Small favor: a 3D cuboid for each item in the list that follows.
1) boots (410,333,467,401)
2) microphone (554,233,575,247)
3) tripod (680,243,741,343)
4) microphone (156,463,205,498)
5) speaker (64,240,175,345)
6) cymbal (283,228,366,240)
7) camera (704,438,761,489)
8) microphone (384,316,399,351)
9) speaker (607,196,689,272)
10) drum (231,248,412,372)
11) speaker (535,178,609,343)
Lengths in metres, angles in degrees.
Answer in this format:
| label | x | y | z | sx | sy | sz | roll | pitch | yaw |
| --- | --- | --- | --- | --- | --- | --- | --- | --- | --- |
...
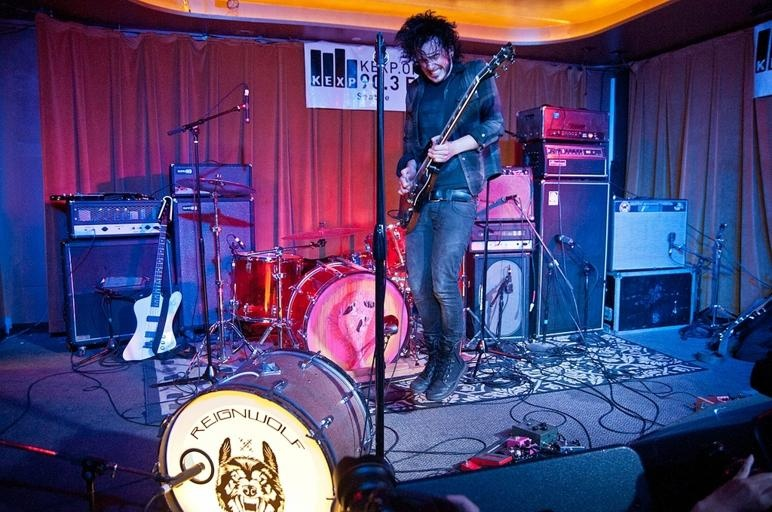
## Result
| label | x | y | z | sx | sy | sz | roll | pitch | yaw |
| --- | --- | --- | --- | --- | --- | --- | --- | --- | --- |
| boots | 0.465 | 0.822 | 5.132 | 0.291 | 0.435 | 0.614 | 14 | 29 | 34 |
| microphone | 1.748 | -0.159 | 6.119 | 0.192 | 0.099 | 0.065 | 21 | 5 | -4 |
| tripod | 3.419 | 0.323 | 6.586 | 0.490 | 1.009 | 1.170 | 1 | 2 | 30 |
| microphone | -1.203 | 1.317 | 3.678 | 0.278 | 0.195 | 0.067 | 1 | 2 | 12 |
| speaker | -2.598 | 0.373 | 6.005 | 0.927 | 1.009 | 0.371 | -1 | -3 | -21 |
| cymbal | -0.541 | -0.209 | 5.729 | 0.347 | 0.081 | 0.362 | -3 | 1 | 34 |
| camera | 1.769 | 1.050 | 3.260 | 0.205 | 0.214 | 0.321 | -8 | 7 | 33 |
| microphone | 0.038 | 0.616 | 5.159 | 0.084 | 0.217 | 0.222 | 7 | -11 | 0 |
| speaker | 2.752 | -0.228 | 6.671 | 0.792 | 0.816 | 0.441 | -1 | 1 | -1 |
| drum | -0.617 | 0.419 | 5.158 | 0.992 | 1.343 | 0.344 | -14 | -5 | 33 |
| speaker | 1.835 | 0.015 | 6.191 | 0.784 | 1.544 | 0.235 | -1 | 2 | -25 |
